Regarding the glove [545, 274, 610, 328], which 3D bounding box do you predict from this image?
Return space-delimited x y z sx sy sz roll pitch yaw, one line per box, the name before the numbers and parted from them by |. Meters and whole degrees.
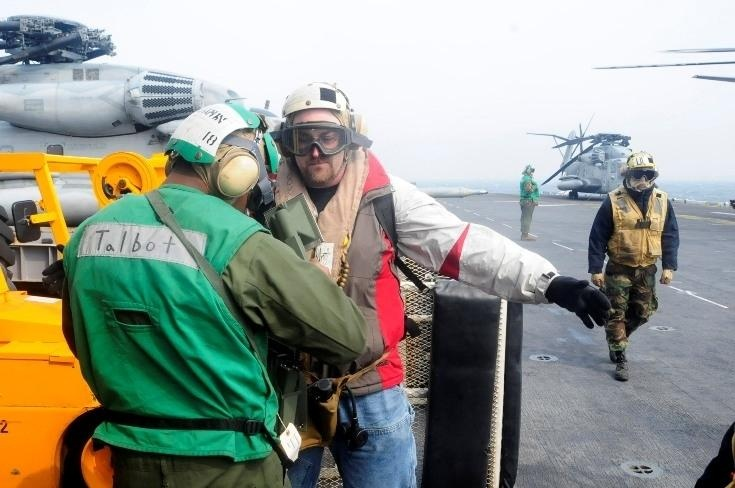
glove | 1.100 0.307 3.011 0.193 0.273 0.308 -7 12 -38
